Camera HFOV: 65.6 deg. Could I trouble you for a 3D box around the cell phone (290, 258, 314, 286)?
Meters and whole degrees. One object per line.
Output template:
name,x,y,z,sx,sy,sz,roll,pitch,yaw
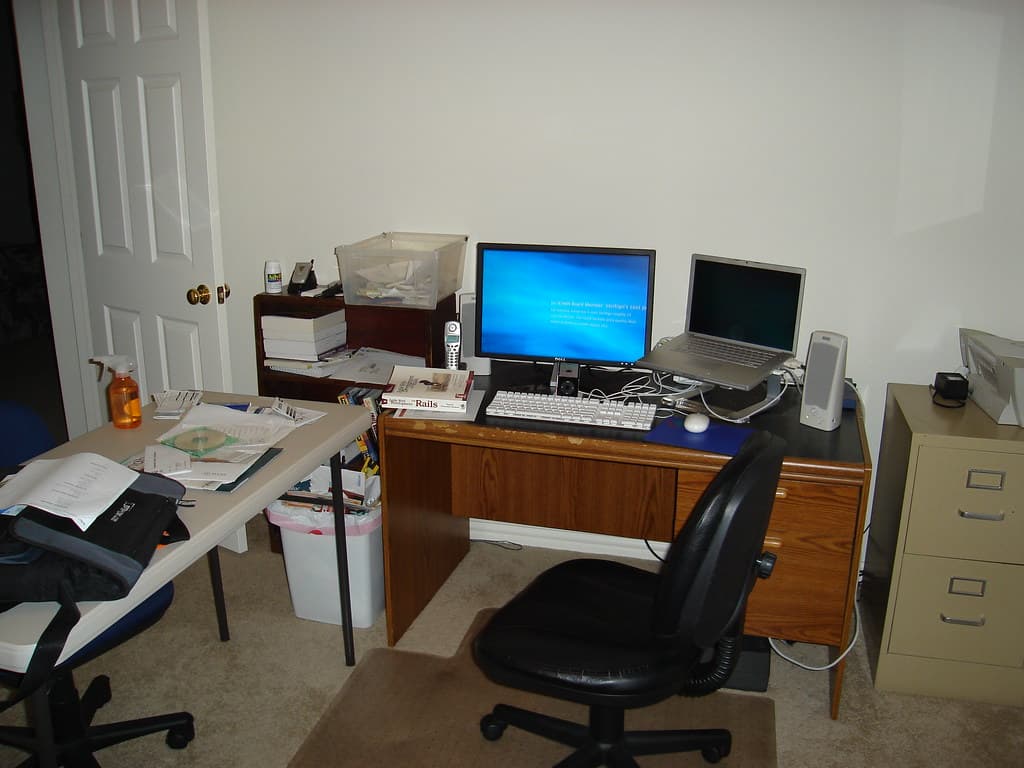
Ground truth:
cell phone,-0.900,-0.476,3.412,0.096,0.077,0.110,5,21,13

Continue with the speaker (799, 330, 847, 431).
speaker,1.051,-0.019,2.676,0.135,0.306,0.192,8,22,23

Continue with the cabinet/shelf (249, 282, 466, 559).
cabinet/shelf,-0.580,0.050,3.358,1.126,1.404,0.408,3,11,12

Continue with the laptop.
laptop,0.728,-0.169,2.807,0.526,0.376,0.537,17,33,34

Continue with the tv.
tv,0.190,-0.248,2.924,0.525,0.389,0.155,4,12,10

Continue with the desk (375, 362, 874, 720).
desk,0.424,0.363,3.124,2.134,1.340,1.103,4,14,17

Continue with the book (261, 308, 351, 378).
book,-0.839,-0.167,3.242,0.339,0.241,0.162,-6,21,-15

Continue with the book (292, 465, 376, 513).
book,-0.642,0.394,3.004,0.218,0.059,0.212,4,18,10

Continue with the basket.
basket,-0.429,-0.473,3.274,0.413,0.237,0.415,5,21,14

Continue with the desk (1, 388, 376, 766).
desk,-0.982,0.640,2.509,0.537,0.696,1.006,4,17,15

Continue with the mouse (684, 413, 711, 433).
mouse,0.594,0.127,2.574,0.051,0.023,0.070,4,27,15
